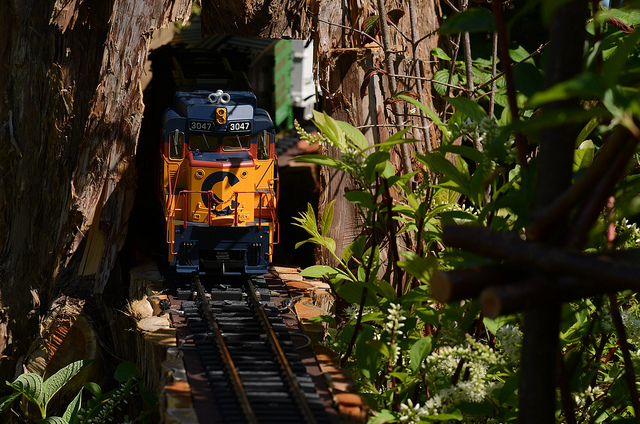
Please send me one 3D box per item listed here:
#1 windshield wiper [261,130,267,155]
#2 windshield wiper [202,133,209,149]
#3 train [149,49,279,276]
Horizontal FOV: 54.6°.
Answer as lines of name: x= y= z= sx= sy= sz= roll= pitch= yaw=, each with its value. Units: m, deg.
windshield wiper: x=-0.757 y=-0.940 z=8.448 sx=0.042 sy=0.340 sz=0.046 roll=1 pitch=-4 yaw=-18
windshield wiper: x=-1.504 y=-0.954 z=8.275 sx=0.024 sy=0.195 sz=0.024 roll=-31 pitch=16 yaw=4
train: x=-1.578 y=-0.791 z=8.776 sx=1.499 sy=3.322 sz=1.863 roll=6 pitch=-4 yaw=-35
